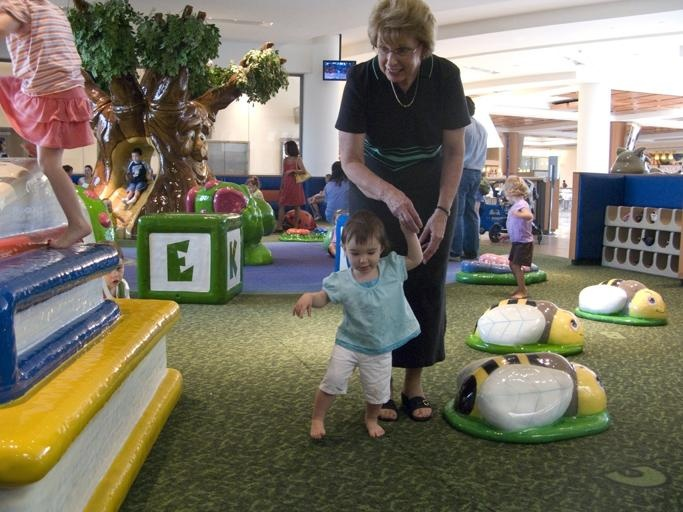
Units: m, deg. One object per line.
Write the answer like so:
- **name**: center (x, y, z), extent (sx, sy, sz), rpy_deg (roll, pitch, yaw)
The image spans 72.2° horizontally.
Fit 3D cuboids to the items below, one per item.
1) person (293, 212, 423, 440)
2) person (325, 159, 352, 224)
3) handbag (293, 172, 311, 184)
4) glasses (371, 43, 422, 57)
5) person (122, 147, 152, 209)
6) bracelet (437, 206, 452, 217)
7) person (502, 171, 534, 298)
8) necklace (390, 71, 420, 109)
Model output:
- **person**: center (0.077, 0.270, 1.820), extent (0.509, 0.879, 0.296), rpy_deg (0, 8, -4)
- **person**: center (-0.073, -0.972, 6.834), extent (0.392, 0.855, 0.508), rpy_deg (0, 22, -6)
- **handbag**: center (-0.737, -1.438, 8.640), extent (0.199, 0.172, 0.295), rpy_deg (2, 9, 15)
- **glasses**: center (0.191, -0.726, 1.669), extent (0.133, 0.036, 0.048), rpy_deg (2, 9, 14)
- **person**: center (-3.559, -1.355, 7.979), extent (0.471, 0.959, 0.493), rpy_deg (2, 9, 15)
- **bracelet**: center (0.404, -0.181, 1.849), extent (0.045, 0.017, 0.033), rpy_deg (42, 3, -6)
- **person**: center (1.593, -0.183, 4.257), extent (0.271, 1.089, 0.878), rpy_deg (3, 9, 21)
- **necklace**: center (0.244, -0.641, 1.823), extent (0.088, 0.124, 0.030), rpy_deg (-2, 15, 6)
